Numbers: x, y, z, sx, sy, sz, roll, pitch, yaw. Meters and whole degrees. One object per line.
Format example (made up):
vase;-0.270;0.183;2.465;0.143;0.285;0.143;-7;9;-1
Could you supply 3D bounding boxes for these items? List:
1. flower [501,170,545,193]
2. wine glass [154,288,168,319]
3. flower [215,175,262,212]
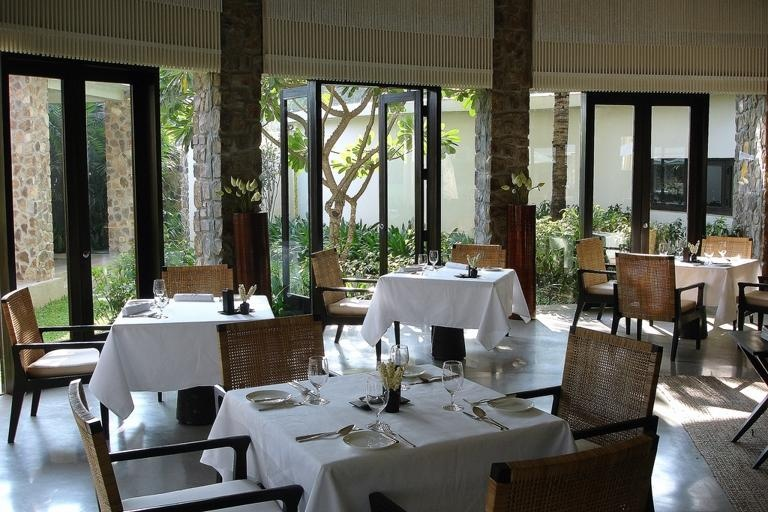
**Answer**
flower;1.975;-1.028;8.582;0.512;0.299;0.585;2;2;6
wine glass;-1.893;0.381;5.053;0.103;0.229;0.407;-5;7;-22
flower;-1.731;-0.754;7.251;0.356;0.400;0.375;5;9;36
